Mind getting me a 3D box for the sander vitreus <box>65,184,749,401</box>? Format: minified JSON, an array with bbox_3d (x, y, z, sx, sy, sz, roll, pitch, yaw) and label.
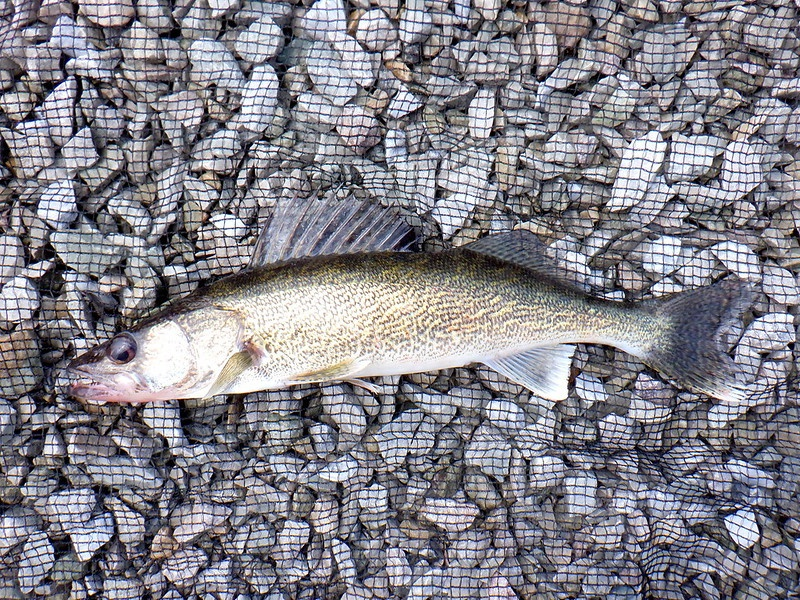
[{"bbox_3d":[-0.035,-0.022,3.554,1.664,0.330,0.505,-5,102,-4],"label":"sander vitreus"}]
